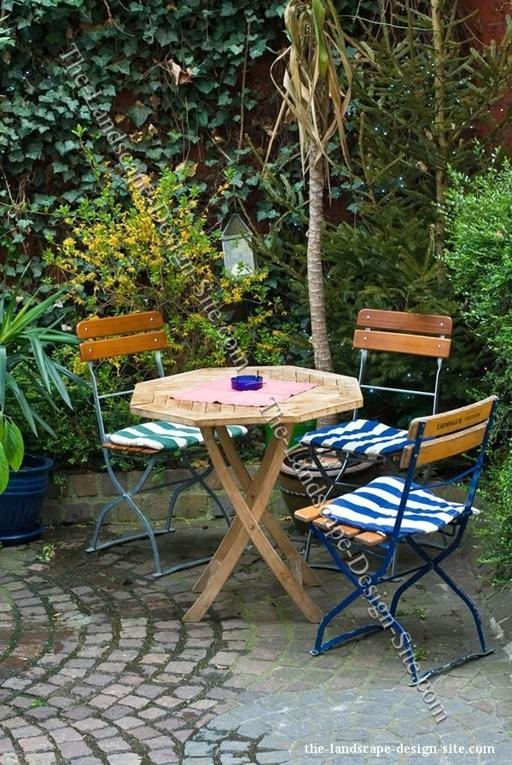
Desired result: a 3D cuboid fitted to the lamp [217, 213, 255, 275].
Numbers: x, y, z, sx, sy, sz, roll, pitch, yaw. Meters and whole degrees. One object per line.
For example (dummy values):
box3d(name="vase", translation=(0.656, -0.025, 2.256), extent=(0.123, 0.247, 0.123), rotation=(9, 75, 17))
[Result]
box3d(name="lamp", translation=(-0.115, -0.880, 4.733), extent=(0.208, 0.411, 0.325), rotation=(-3, 8, -2))

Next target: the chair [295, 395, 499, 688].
box3d(name="chair", translation=(0.467, 0.512, 2.591), extent=(0.728, 0.825, 0.691), rotation=(-3, 3, -3))
